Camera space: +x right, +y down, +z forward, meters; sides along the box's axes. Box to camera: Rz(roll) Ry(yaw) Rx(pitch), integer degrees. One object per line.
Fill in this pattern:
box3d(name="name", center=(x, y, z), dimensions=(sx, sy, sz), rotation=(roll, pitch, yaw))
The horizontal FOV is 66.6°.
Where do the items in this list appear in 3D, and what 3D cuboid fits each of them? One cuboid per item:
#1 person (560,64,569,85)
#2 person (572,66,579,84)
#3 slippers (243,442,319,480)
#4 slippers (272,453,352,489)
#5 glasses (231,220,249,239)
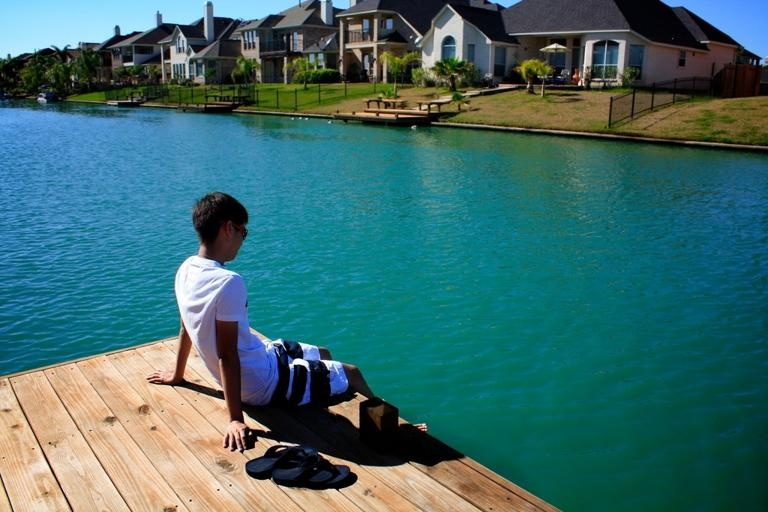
box3d(name="person", center=(14.901, -14.574, 47.964), dimensions=(0.659, 1.112, 0.723), rotation=(6, 13, 10))
box3d(name="person", center=(15.582, -14.544, 47.529), dimensions=(0.482, 1.363, 1.828), rotation=(7, 13, 13))
box3d(name="slippers", center=(-0.929, 1.813, 5.207), dimensions=(0.282, 0.135, 0.532), rotation=(17, 24, 41))
box3d(name="slippers", center=(-0.624, 1.893, 5.101), dimensions=(0.443, 0.125, 0.319), rotation=(1, 14, -9))
box3d(name="glasses", center=(-1.399, -0.246, 5.642), dimensions=(0.156, 0.045, 0.151), rotation=(31, 16, 26))
